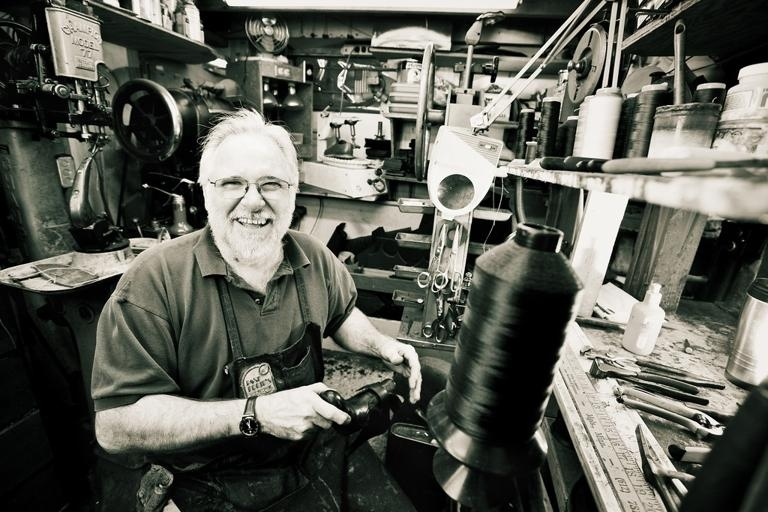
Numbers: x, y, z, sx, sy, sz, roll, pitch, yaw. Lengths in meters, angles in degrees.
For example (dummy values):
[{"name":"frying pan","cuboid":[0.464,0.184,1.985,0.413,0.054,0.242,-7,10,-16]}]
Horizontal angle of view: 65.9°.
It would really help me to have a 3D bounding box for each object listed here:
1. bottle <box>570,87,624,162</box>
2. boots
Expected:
[{"name":"bottle","cuboid":[1.012,-0.622,2.922,0.205,0.404,0.263,4,14,-1]},{"name":"boots","cuboid":[-0.062,0.722,2.866,0.204,0.192,0.539,11,18,39]}]
